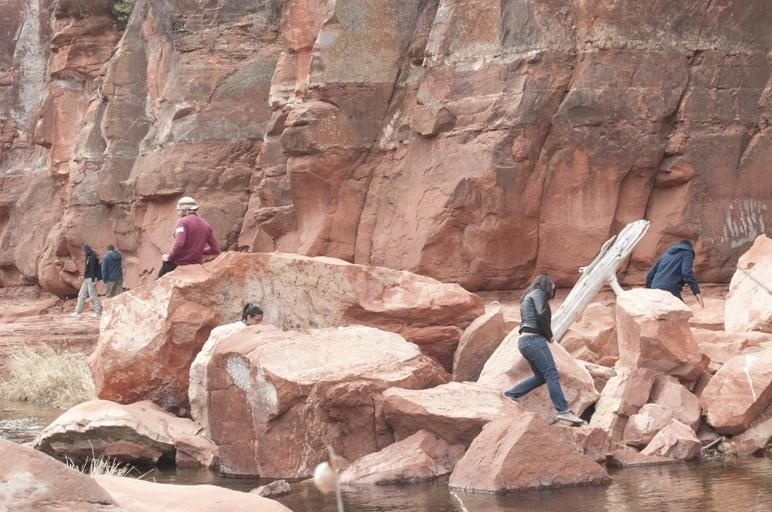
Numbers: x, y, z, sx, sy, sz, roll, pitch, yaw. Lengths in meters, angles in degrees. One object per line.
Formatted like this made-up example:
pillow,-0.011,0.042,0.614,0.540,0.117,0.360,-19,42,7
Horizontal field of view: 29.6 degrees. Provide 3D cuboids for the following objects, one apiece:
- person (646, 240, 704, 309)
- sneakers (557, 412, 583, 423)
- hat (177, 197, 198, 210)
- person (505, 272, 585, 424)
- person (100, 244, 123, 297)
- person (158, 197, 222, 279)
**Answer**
person,5.452,0.369,27.114,0.470,1.409,0.915,47,-11,-37
sneakers,3.067,2.667,24.186,0.440,0.175,0.167,6,2,3
hat,-3.665,-0.977,27.217,0.365,0.172,0.423,0,-2,1
person,2.701,1.512,24.451,1.195,2.329,0.772,5,8,8
person,-6.354,0.377,33.899,0.458,1.452,2.252,2,8,-12
person,-3.595,-0.368,26.930,1.051,1.386,0.979,3,8,-6
